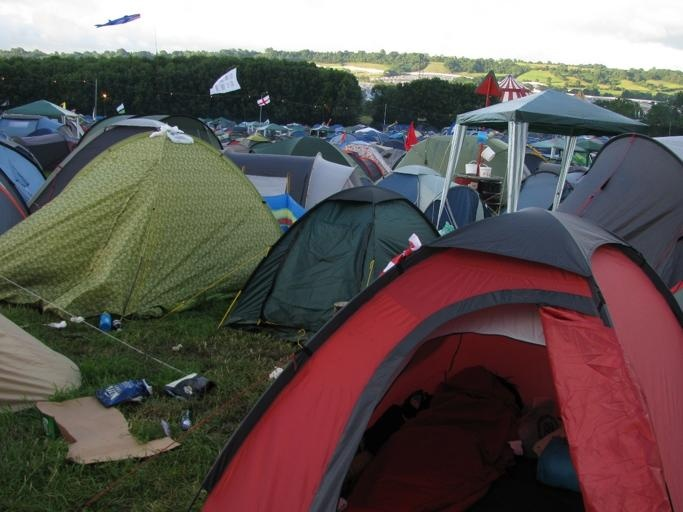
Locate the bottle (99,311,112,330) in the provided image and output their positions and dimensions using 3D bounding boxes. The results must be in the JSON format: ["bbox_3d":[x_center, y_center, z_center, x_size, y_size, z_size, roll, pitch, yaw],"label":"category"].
[{"bbox_3d":[-2.460,0.685,5.549,0.107,0.099,0.187,6,58,-26],"label":"bottle"}]
